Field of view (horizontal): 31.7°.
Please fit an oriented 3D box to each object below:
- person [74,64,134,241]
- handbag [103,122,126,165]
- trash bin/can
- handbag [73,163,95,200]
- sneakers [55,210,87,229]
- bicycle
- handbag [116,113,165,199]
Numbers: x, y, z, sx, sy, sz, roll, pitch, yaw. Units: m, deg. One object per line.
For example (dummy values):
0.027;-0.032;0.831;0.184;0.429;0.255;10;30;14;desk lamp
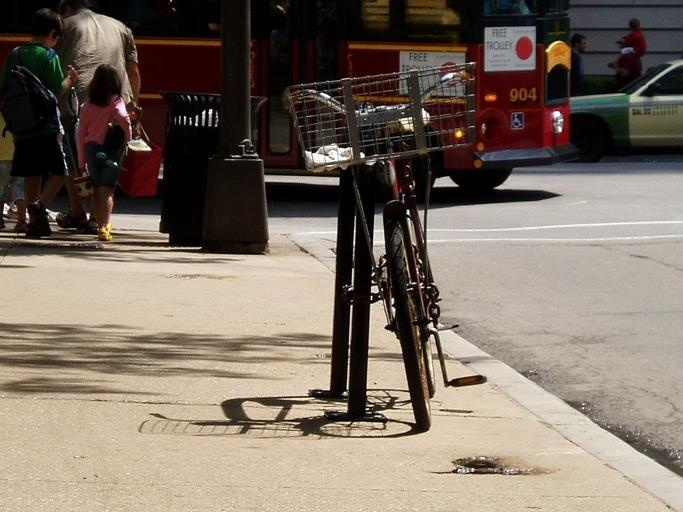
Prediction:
-2.320;-1.028;11.985;0.613;1.756;0.335;3;8;33;person
-2.245;-1.157;11.953;0.214;0.271;0.196;14;-25;-21;handbag
-1.507;-0.879;12.074;0.652;1.544;0.374;-3;7;-6;trash bin/can
-2.620;-0.718;12.081;0.220;0.278;0.282;-13;5;-4;handbag
-2.832;-0.383;12.742;0.319;0.114;0.165;8;17;-1;sneakers
0.260;-0.100;6.818;1.079;1.990;1.368;-2;7;1;bicycle
-2.301;-0.998;12.879;0.688;0.594;0.372;17;17;35;handbag
